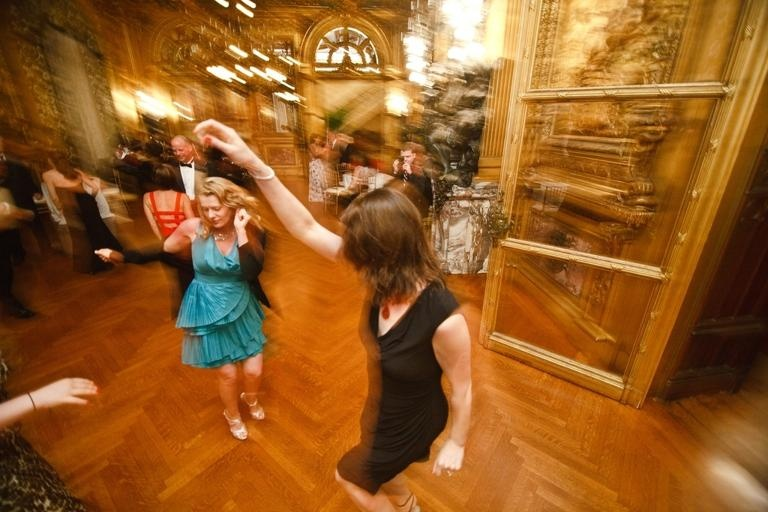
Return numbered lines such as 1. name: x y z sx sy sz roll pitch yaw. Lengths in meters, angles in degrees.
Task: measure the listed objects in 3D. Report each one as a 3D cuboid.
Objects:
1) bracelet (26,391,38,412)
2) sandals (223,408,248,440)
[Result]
1. bracelet: -2.268 0.930 2.864 0.089 0.114 0.028 21 32 40
2. sandals: -1.300 1.517 4.001 0.137 0.329 0.132 -25 -11 -42
